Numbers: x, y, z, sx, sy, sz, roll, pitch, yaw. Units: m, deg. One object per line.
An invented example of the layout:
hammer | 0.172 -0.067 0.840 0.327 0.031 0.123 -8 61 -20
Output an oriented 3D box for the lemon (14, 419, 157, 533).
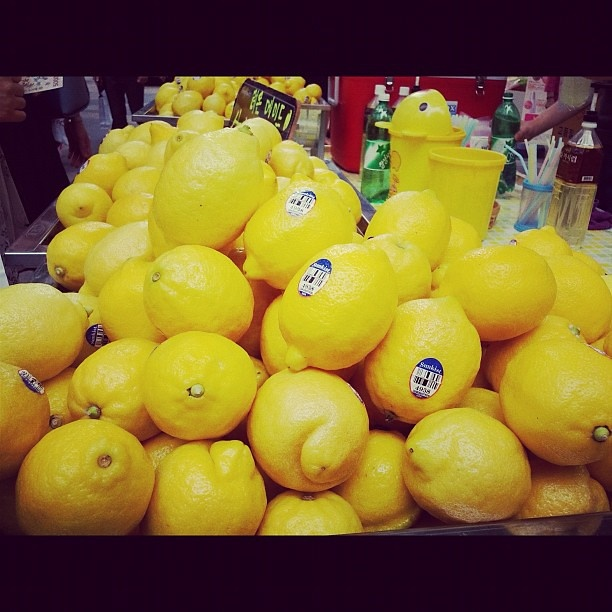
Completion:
lemon | -0.252 0.198 0.632 0.143 0.101 0.116 5 32 0

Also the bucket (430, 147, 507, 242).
bucket | 0.450 -0.405 1.806 0.275 0.341 0.308 2 18 3

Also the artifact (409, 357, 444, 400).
artifact | 0.157 0.093 0.716 0.039 0.055 0.012 24 1 -6

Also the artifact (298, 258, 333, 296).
artifact | 0.013 -0.038 0.723 0.042 0.036 0.055 13 33 12

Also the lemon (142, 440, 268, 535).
lemon | -0.117 0.221 0.668 0.136 0.094 0.122 8 32 4
